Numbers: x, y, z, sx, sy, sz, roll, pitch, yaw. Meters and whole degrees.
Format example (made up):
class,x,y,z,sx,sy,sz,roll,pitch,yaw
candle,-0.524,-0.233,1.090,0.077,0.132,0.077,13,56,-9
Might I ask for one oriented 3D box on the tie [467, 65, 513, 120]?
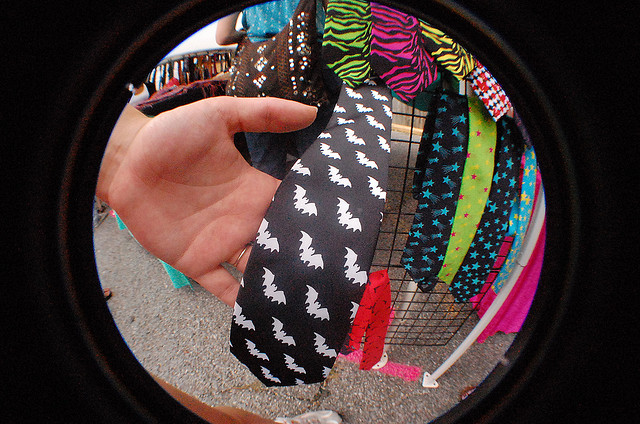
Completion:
class,x,y,z,sx,sy,sz,roll,pitch,yaw
tie,0.332,-0.259,1.001,0.029,0.122,0.123,-24,43,-4

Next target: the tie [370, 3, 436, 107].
class,x,y,z,sx,sy,sz,roll,pitch,yaw
tie,0.149,-0.312,0.956,0.109,0.055,0.181,-12,85,2

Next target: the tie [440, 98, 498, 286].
class,x,y,z,sx,sy,sz,roll,pitch,yaw
tie,0.294,-0.006,1.061,0.147,0.512,0.064,3,46,10
